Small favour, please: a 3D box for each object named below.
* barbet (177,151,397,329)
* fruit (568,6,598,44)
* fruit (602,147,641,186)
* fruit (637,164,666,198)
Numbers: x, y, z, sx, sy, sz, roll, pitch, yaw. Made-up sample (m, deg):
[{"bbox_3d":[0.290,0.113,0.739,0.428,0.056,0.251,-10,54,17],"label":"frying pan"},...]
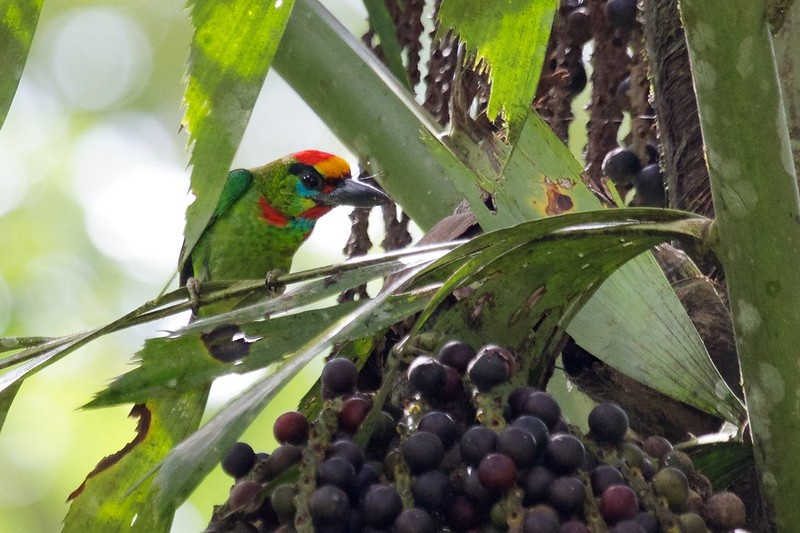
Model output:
[{"bbox_3d":[-0.287,-0.073,2.656,0.675,0.309,0.229,-23,-20,11],"label":"barbet"},{"bbox_3d":[0.423,-0.568,2.510,0.071,0.067,0.049,-14,-28,-22],"label":"fruit"},{"bbox_3d":[0.509,-0.228,2.427,0.089,0.083,0.055,3,-9,13],"label":"fruit"},{"bbox_3d":[0.564,-0.192,2.387,0.059,0.077,0.064,6,-17,-6],"label":"fruit"}]
